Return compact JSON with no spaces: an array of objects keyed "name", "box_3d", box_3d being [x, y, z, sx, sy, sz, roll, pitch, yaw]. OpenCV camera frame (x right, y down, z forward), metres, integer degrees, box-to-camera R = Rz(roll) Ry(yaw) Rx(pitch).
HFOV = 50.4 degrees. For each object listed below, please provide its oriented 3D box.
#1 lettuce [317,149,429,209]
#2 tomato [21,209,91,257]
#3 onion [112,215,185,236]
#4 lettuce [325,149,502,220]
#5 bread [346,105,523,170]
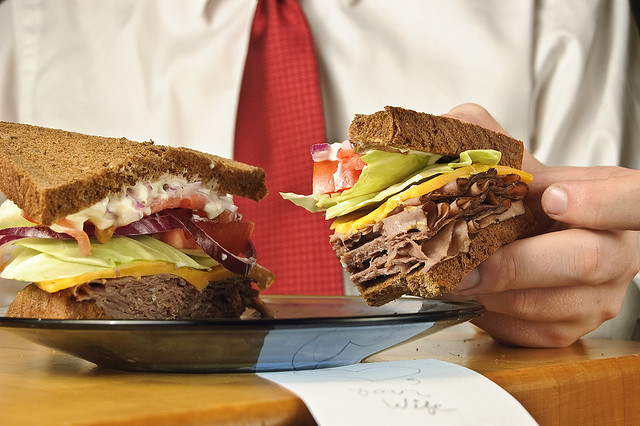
[{"name":"lettuce","box_3d":[0.181,-0.168,2.603,0.455,0.130,0.323,-9,-25,-36]},{"name":"tomato","box_3d":[-0.857,0.077,2.359,0.129,0.145,0.048,-4,17,10]},{"name":"onion","box_3d":[-0.628,0.045,2.499,0.127,0.025,0.123,-9,2,38]},{"name":"lettuce","box_3d":[0.393,-0.113,2.628,0.673,0.132,0.488,-10,-4,24]},{"name":"bread","box_3d":[0.481,-0.278,2.589,0.705,0.297,0.205,-11,15,-29]}]
